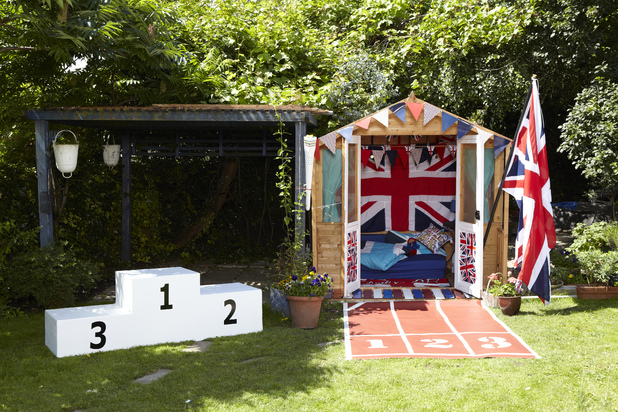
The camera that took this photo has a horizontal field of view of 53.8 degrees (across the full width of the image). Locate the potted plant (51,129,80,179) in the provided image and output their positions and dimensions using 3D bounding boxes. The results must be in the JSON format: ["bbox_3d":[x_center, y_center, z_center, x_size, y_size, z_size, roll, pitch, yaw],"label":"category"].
[{"bbox_3d":[-5.068,-1.150,12.625,0.509,0.928,2.142,-1,-1,-21],"label":"potted plant"}]

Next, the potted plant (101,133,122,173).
[{"bbox_3d":[-4.517,-1.298,13.883,0.413,0.717,0.578,-1,-1,-16],"label":"potted plant"}]

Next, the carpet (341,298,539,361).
[{"bbox_3d":[2.075,2.160,10.790,3.000,0.916,2.254,-2,-1,0],"label":"carpet"}]

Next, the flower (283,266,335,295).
[{"bbox_3d":[-0.045,1.410,11.163,0.837,0.480,0.733,-1,-1,-14],"label":"flower"}]

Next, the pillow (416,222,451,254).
[{"bbox_3d":[2.828,0.740,13.876,0.715,0.218,0.728,-9,32,-37],"label":"pillow"}]

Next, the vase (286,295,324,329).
[{"bbox_3d":[-0.151,1.884,11.122,0.794,0.602,0.782,-2,-3,6],"label":"vase"}]

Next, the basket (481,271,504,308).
[{"bbox_3d":[3.599,1.650,11.920,0.550,0.874,0.616,0,2,-1],"label":"basket"}]
